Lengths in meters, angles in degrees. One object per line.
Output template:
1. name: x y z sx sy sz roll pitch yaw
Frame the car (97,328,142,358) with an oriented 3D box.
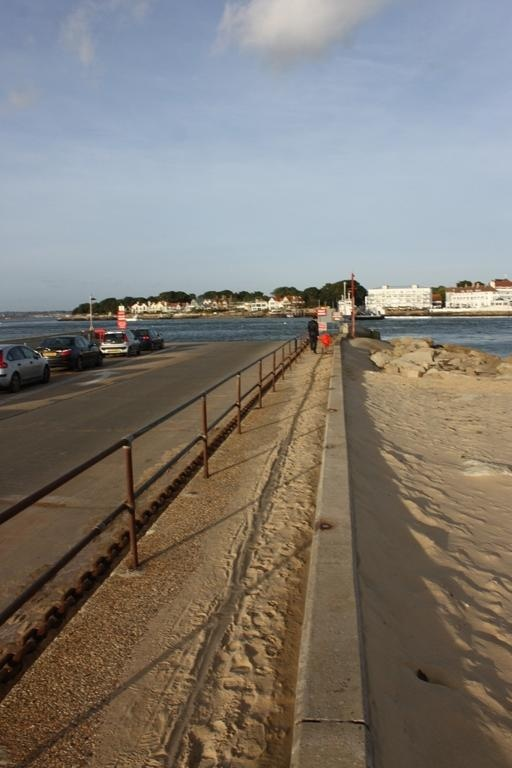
1. car: -7.224 -2.215 30.350 1.155 1.030 1.873 0 16 4

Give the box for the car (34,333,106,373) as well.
1. car: -7.465 -1.290 22.973 1.201 0.942 2.696 0 9 -1
